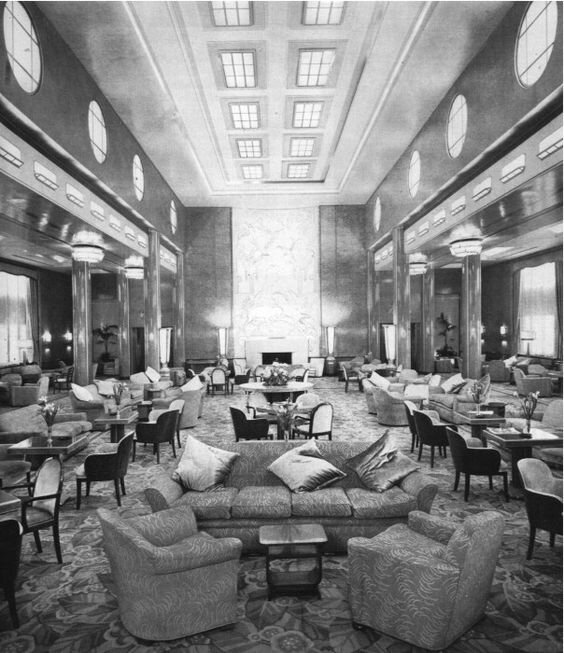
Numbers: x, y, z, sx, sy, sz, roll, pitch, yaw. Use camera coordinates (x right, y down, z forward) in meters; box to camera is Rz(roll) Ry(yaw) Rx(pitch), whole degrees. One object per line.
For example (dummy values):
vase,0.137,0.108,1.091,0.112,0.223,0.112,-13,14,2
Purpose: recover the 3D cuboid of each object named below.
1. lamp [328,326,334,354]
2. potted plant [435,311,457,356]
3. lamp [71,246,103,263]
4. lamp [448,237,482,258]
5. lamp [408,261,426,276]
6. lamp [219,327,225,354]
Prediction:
lamp,1.959,0.526,18.823,0.275,1.107,0.241,-1,0,-10
potted plant,7.424,0.279,21.322,0.933,2.056,2.839,-1,-1,20
lamp,-4.394,-1.648,10.627,0.459,0.203,0.495,2,-4,-10
lamp,4.287,-1.844,10.949,0.534,0.216,0.544,-1,1,41
lamp,4.450,-1.947,15.498,0.398,0.367,0.802,-2,-1,39
lamp,-2.351,0.559,18.747,0.268,1.031,0.154,-1,0,-23
